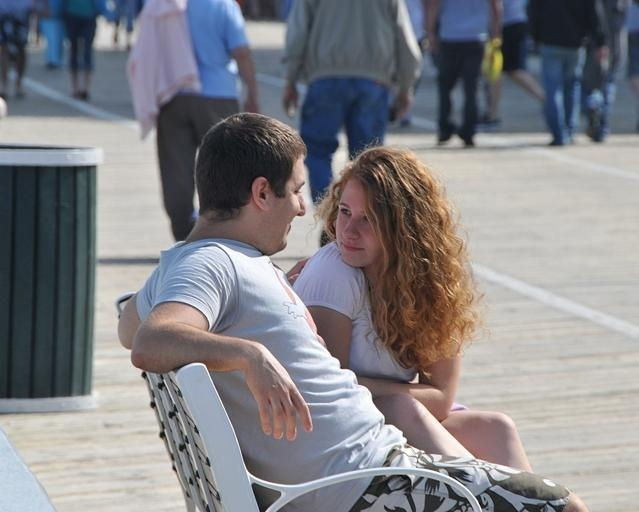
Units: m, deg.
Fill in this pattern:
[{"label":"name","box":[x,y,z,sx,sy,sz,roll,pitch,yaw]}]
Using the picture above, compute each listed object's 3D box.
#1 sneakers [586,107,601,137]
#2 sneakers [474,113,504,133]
[{"label":"sneakers","box":[1.472,-0.696,9.304,0.068,0.135,0.136,-1,10,0]},{"label":"sneakers","box":[0.969,-0.743,9.762,0.108,0.113,0.109,1,-3,-11]}]
